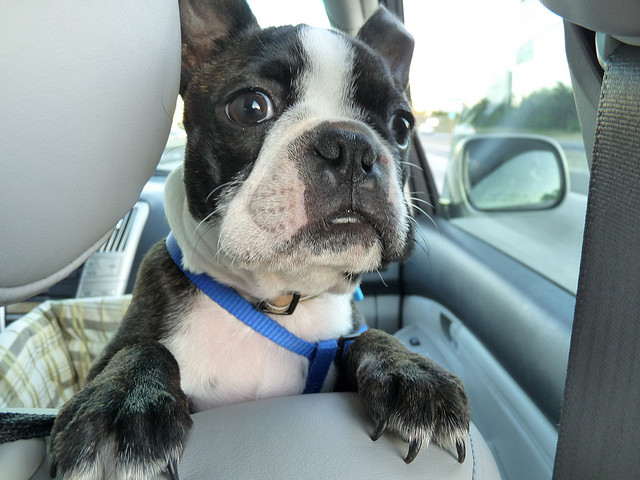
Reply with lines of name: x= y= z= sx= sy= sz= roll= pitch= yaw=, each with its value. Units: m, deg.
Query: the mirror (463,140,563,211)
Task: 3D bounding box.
mirror: x=1.135 y=-0.376 z=3.099 sx=0.015 sy=0.327 sz=0.373 roll=-2 pitch=3 yaw=-43
